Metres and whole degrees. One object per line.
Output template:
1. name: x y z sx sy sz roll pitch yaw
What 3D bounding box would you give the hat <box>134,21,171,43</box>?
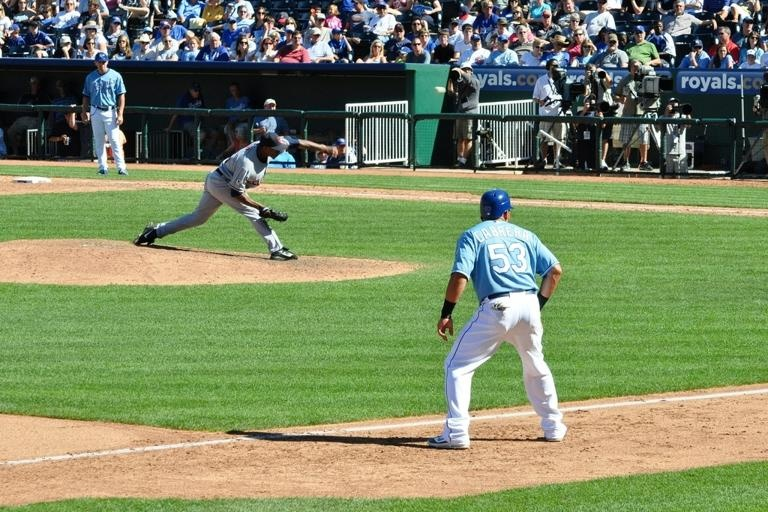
1. hat: -5.782 -5.546 41.827 0.965 0.315 0.275 -19 -34 15

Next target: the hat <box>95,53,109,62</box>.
1. hat: -5.611 -3.892 33.372 0.278 0.185 0.375 -2 8 -19

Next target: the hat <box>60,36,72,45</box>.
1. hat: -7.910 -5.338 41.614 0.231 0.144 0.299 -1 0 -30

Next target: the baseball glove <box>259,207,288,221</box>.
1. baseball glove: -1.766 -0.612 26.449 0.535 0.166 0.231 10 -12 -2

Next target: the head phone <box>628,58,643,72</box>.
1. head phone: 5.317 -4.020 35.619 0.242 0.237 0.307 -2 3 -3

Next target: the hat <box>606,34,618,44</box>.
1. hat: 4.960 -4.716 36.616 0.209 0.221 0.235 1 -7 1

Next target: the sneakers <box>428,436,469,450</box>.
1. sneakers: 0.793 2.325 20.784 0.492 0.189 0.171 4 2 8

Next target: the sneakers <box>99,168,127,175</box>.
1. sneakers: -5.658 -1.706 34.755 0.649 0.225 0.186 -1 6 7

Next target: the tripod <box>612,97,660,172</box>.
1. tripod: 5.371 -2.632 36.026 0.836 1.740 0.986 3 15 7

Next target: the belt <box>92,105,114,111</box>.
1. belt: -5.528 -2.927 33.346 0.370 0.107 0.124 -3 14 -15

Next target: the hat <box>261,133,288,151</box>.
1. hat: -1.669 -1.727 25.928 0.379 0.102 0.231 19 27 -22

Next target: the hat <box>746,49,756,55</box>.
1. hat: 7.888 -4.362 36.184 0.173 0.116 0.186 3 14 8

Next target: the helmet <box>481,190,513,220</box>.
1. helmet: 1.373 -0.574 21.011 0.330 0.311 0.411 0 -21 18

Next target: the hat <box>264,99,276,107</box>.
1. hat: -2.580 -3.451 37.805 0.223 0.110 0.322 0 -2 -8

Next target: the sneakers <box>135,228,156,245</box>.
1. sneakers: -3.860 -0.259 27.273 0.210 0.151 0.478 14 29 27

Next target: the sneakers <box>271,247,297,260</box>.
1. sneakers: -1.608 0.000 27.171 0.449 0.177 0.174 -1 9 -13
